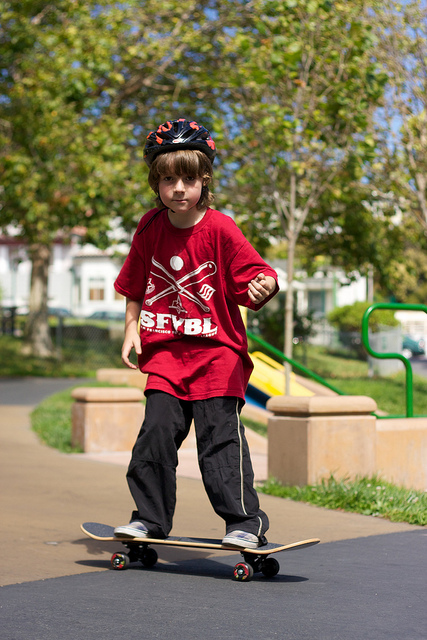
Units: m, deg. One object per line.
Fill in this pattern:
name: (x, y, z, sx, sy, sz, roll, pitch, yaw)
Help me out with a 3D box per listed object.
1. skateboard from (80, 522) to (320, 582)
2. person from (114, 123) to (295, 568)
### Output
skateboard: (-0.088, 0.919, 3.108, 1.189, 0.182, 0.327, -1, -4, 19)
person: (-0.107, 0.070, 3.205, 0.792, 1.719, 0.462, 5, -1, 16)
